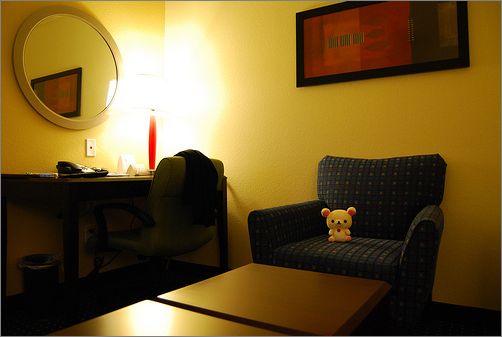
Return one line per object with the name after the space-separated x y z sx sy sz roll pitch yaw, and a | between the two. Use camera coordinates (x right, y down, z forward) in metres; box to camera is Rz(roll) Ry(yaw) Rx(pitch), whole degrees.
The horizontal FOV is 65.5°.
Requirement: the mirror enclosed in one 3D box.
-1.597 -0.842 3.278 0.061 1.192 1.097 3 8 34 | mirror

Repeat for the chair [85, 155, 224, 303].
-0.784 0.464 3.182 1.040 1.055 0.806 -4 -4 30 | chair

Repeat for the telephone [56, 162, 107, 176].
-1.320 0.015 3.012 0.254 0.079 0.198 0 -1 -7 | telephone

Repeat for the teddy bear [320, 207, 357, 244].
0.637 0.406 2.761 0.268 0.249 0.114 -6 -8 36 | teddy bear

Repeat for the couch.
0.778 0.427 2.792 1.267 1.009 1.085 -2 1 45 | couch
